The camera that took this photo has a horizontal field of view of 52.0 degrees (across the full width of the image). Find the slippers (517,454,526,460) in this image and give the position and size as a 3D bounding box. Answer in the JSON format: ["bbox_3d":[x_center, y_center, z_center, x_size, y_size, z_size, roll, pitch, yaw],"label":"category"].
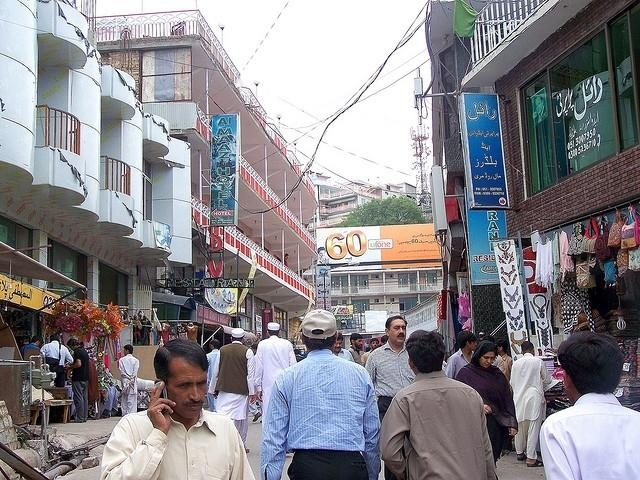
[{"bbox_3d":[3.388,3.657,10.997,0.171,0.106,0.109,0,-13,-9],"label":"slippers"}]

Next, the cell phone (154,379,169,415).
[{"bbox_3d":[-0.982,0.966,4.033,0.036,0.159,0.150,7,-4,-34],"label":"cell phone"}]

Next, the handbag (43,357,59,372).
[{"bbox_3d":[-6.143,2.816,15.049,0.352,0.378,0.327,1,7,-30],"label":"handbag"}]
